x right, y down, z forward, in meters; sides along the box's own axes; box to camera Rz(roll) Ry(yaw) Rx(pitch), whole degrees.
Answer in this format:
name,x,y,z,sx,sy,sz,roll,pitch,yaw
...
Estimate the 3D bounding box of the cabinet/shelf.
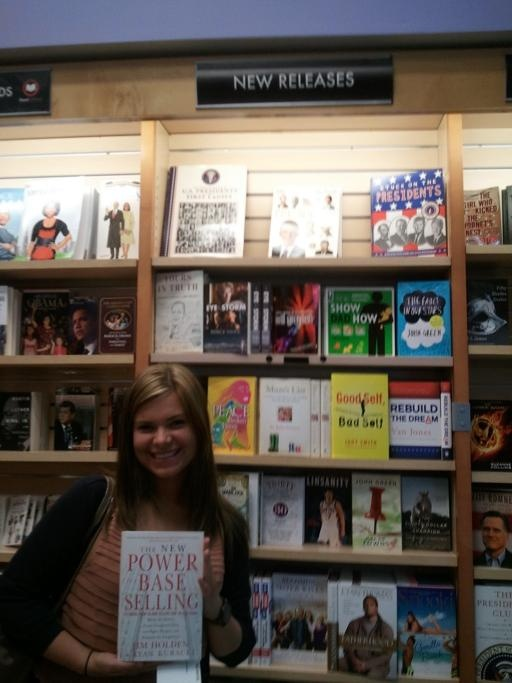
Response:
name,x,y,z,sx,sy,sz,roll,pitch,yaw
cabinet/shelf,0.066,0.196,2.240,1.631,1.858,0.592,-1,-9,8
